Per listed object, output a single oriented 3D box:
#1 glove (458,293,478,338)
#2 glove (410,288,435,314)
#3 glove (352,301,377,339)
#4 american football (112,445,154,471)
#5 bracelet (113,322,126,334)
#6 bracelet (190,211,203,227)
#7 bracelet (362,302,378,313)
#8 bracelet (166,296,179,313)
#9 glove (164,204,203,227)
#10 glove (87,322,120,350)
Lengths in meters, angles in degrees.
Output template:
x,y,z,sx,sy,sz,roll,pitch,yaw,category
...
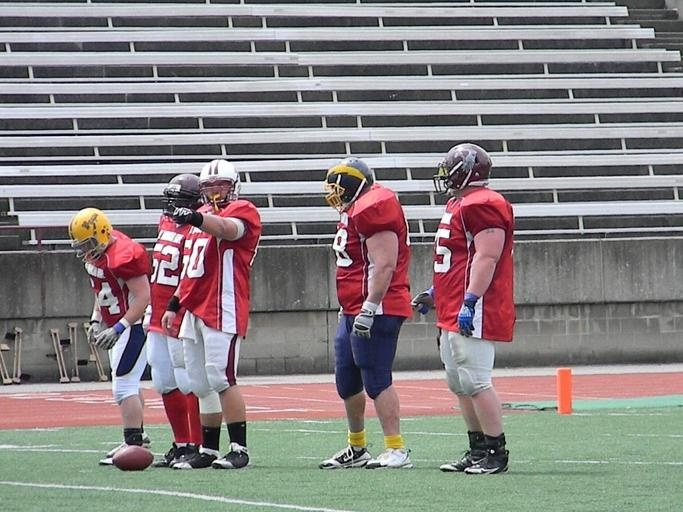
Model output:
x,y,z,sx,sy,sz,roll,pitch,yaw,category
1.736,0.840,22.717,0.290,0.601,0.112,-3,-3,-14,glove
1.151,0.698,23.528,0.231,0.188,0.529,-40,-1,-9,glove
0.298,0.921,22.806,0.360,0.476,0.217,12,2,-1,glove
-2.953,2.885,22.903,0.502,0.274,0.309,0,-27,-15,american football
-3.225,1.072,23.493,0.185,0.136,0.144,30,-33,6,bracelet
-2.037,-0.506,22.781,0.210,0.184,0.198,5,-1,-2,bracelet
0.365,0.750,22.922,0.190,0.134,0.152,4,-1,-12,bracelet
-2.455,0.728,23.458,0.146,0.227,0.192,5,-17,46,bracelet
-2.257,-0.546,22.824,0.423,0.160,0.291,10,-5,25,glove
-3.450,1.207,23.616,0.206,0.353,0.448,-34,-14,-52,glove
